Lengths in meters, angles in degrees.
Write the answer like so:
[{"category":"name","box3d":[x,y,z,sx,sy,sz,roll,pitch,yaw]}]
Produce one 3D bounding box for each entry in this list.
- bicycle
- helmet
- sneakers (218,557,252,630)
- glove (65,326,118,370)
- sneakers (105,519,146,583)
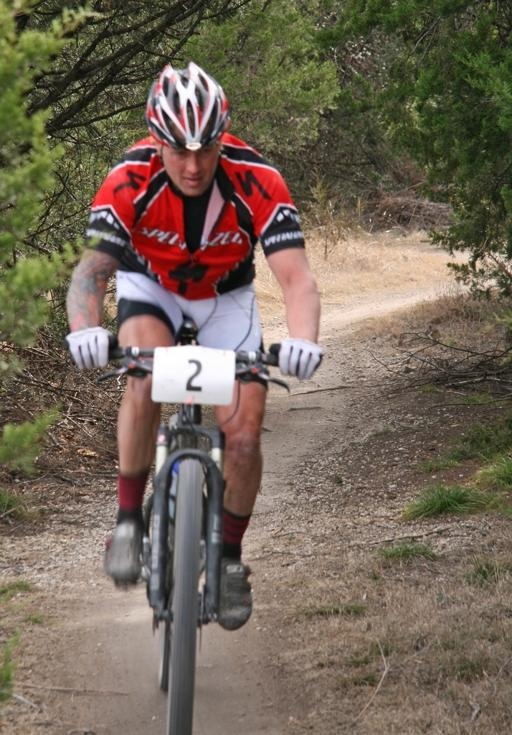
[{"category":"bicycle","box3d":[-0.215,0.665,2.377,0.622,1.604,0.860,-3,11,-5]},{"category":"helmet","box3d":[-0.243,-0.932,2.489,0.300,0.168,0.403,5,37,-3]},{"category":"sneakers","box3d":[-0.101,0.891,2.738,0.123,0.139,0.330,-5,38,-1]},{"category":"glove","box3d":[-0.525,-0.065,2.179,0.144,0.120,0.158,-4,11,-12]},{"category":"sneakers","box3d":[-0.445,0.629,2.367,0.099,0.113,0.260,1,13,-6]}]
